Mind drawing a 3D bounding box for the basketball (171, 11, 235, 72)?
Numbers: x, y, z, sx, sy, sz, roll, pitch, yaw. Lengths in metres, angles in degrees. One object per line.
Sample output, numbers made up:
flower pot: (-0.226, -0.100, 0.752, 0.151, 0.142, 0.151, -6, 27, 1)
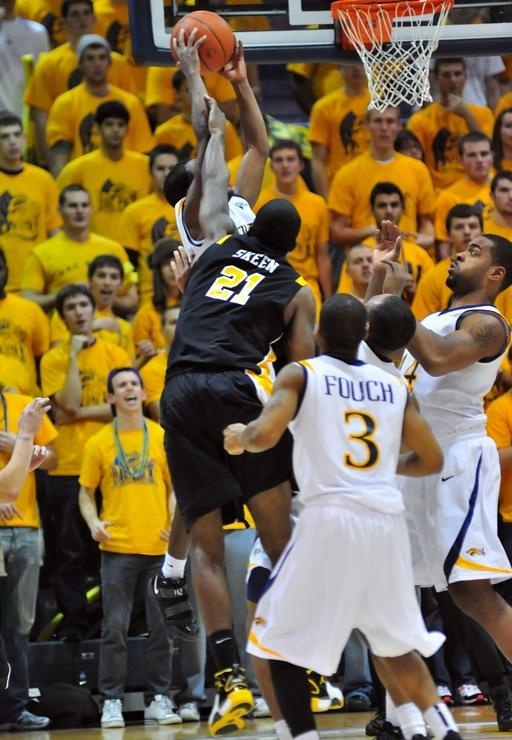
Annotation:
basketball: (-0.228, -1.364, 3.696, 0.178, 0.243, 0.282, -5, -2, 33)

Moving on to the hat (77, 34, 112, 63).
hat: (-1.332, -2.645, 7.381, 0.230, 0.158, 0.278, -4, 12, -2)

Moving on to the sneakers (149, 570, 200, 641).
sneakers: (-0.312, 0.915, 3.449, 0.116, 0.140, 0.332, -7, 40, -21)
